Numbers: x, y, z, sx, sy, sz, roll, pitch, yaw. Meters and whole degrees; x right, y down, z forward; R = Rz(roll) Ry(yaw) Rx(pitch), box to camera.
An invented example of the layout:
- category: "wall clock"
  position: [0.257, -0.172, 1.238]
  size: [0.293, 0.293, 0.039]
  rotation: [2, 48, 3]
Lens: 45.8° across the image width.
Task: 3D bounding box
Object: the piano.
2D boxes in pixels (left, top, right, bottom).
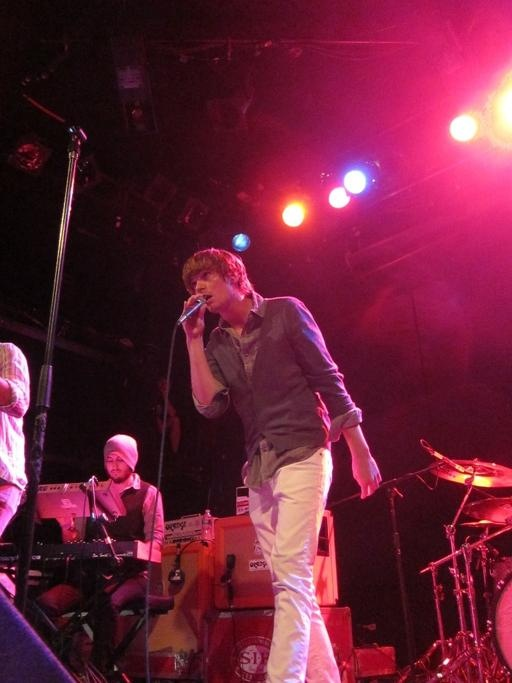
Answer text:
- category: "piano"
  position: [-0.879, 1.172, 3.369]
  size: [0.768, 0.139, 0.301]
  rotation: [-5, -26, 19]

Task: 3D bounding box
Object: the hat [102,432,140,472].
- category: "hat"
  position: [-1.069, 0.849, 4.691]
  size: [0.208, 0.274, 0.322]
  rotation: [-6, -19, 7]
